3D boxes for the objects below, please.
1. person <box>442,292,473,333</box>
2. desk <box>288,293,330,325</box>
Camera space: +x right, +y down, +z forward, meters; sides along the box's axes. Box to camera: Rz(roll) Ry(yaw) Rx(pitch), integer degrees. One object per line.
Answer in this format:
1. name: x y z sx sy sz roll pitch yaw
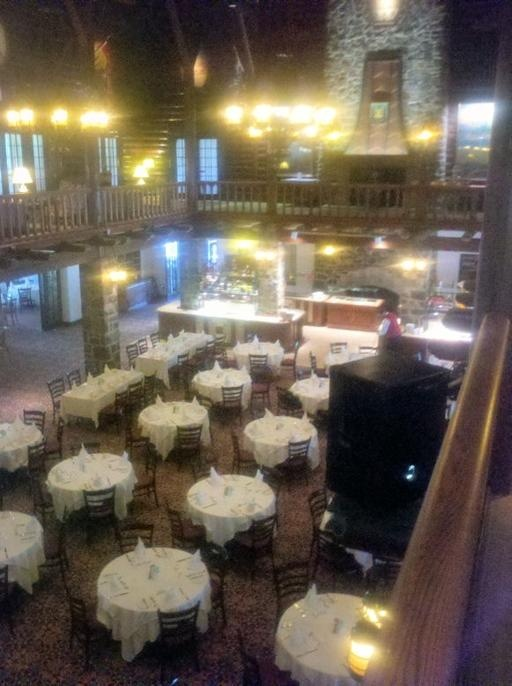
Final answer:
1. person: 2.075 -0.292 5.629 0.285 0.315 1.415 3 13 20
2. desk: 1.954 -1.237 19.190 1.166 0.709 1.168 5 19 15
